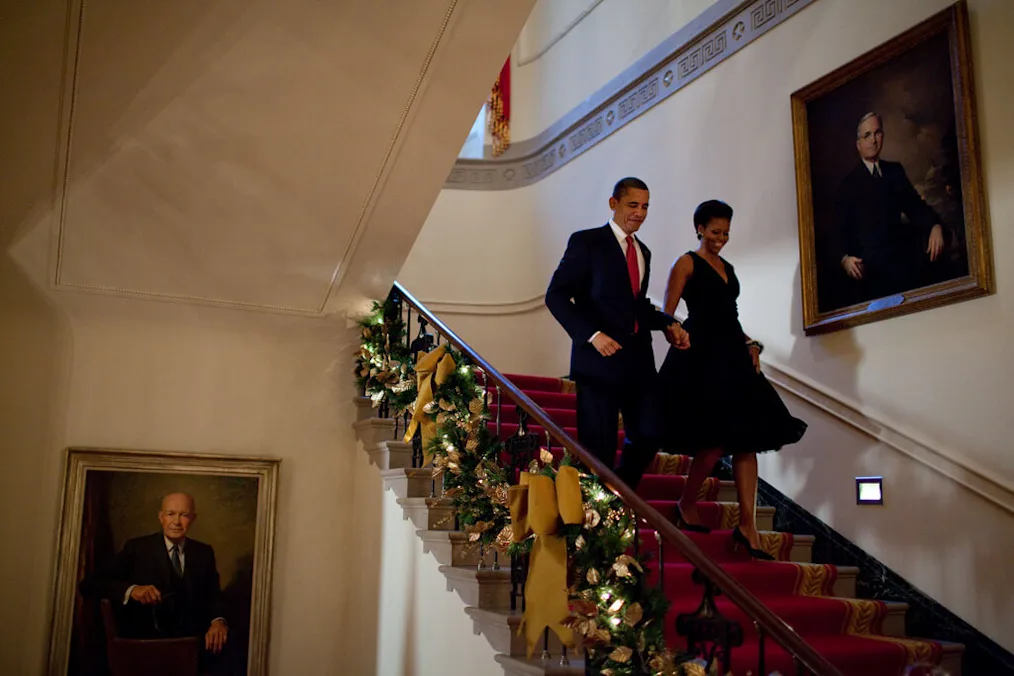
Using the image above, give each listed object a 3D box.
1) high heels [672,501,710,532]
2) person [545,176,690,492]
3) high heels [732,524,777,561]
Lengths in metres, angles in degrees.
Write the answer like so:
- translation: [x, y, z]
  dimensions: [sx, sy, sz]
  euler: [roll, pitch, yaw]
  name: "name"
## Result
- translation: [1.228, 1.215, 5.468]
  dimensions: [0.103, 0.150, 0.308]
  euler: [13, -4, -42]
  name: "high heels"
- translation: [0.677, -0.048, 5.116]
  dimensions: [0.819, 1.941, 0.425]
  euler: [-3, -13, 3]
  name: "person"
- translation: [1.689, 1.382, 5.411]
  dimensions: [0.389, 0.188, 0.124]
  euler: [11, -11, 39]
  name: "high heels"
